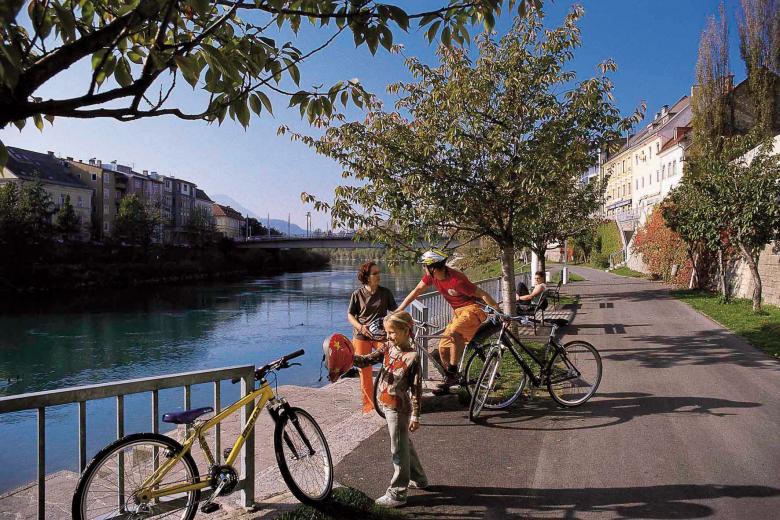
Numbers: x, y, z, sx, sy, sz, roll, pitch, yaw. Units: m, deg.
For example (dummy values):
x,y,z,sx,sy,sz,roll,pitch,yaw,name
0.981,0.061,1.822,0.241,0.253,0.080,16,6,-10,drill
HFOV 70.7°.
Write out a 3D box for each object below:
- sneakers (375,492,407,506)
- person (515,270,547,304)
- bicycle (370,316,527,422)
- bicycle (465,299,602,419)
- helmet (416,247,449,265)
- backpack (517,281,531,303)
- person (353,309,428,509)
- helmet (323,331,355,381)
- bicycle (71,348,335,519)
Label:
x,y,z,sx,sy,sz,roll,pitch,yaw,name
0.002,2.445,5.595,0.302,0.135,0.127,5,-6,1,sneakers
3.244,0.663,12.952,0.767,0.849,0.572,-1,25,-18,person
0.673,1.298,7.182,2.449,1.548,1.203,4,-7,-28,bicycle
2.196,1.567,8.294,2.329,1.494,1.156,1,-6,-25,bicycle
0.646,-0.057,8.176,0.342,0.187,0.238,2,7,7,helmet
3.955,0.973,16.419,0.378,0.551,0.931,7,2,35,backpack
0.082,1.527,5.852,0.513,1.844,0.597,-2,-1,4,person
-0.567,1.047,5.945,0.363,0.472,0.490,1,-8,-24,helmet
-1.855,1.765,5.530,2.483,1.471,1.272,-5,-3,-41,bicycle
